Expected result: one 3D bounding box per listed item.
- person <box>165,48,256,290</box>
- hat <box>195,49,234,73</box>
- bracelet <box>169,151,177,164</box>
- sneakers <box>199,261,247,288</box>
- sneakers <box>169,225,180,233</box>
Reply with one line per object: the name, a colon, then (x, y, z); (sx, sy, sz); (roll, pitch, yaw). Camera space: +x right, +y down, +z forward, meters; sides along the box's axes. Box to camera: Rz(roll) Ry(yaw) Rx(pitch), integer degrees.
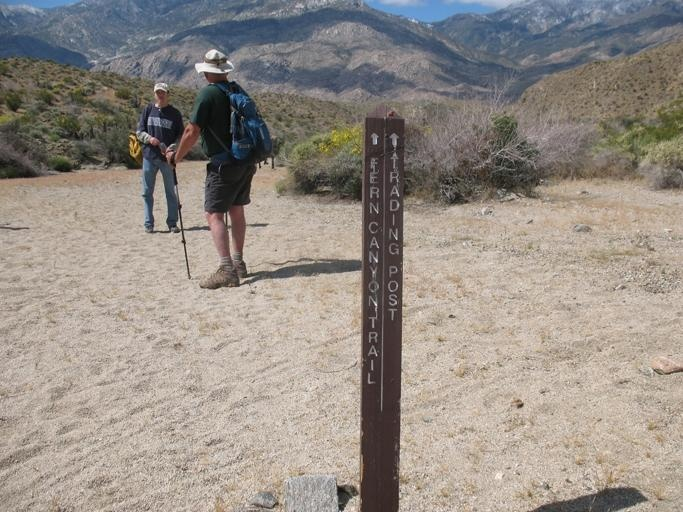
person: (-1.522, -1.026, 7.528); (0.906, 2.761, 0.926); (7, 9, 37)
hat: (-1.494, -2.233, 7.176); (0.348, 0.194, 0.390); (-12, 21, -21)
bracelet: (-2.025, -1.199, 7.438); (0.054, 0.168, 0.113); (2, -1, -8)
sneakers: (-1.438, 0.224, 7.647); (0.598, 0.322, 0.234); (-5, 15, -6)
sneakers: (-2.640, -0.425, 9.746); (0.136, 0.079, 0.089); (5, 7, 10)
